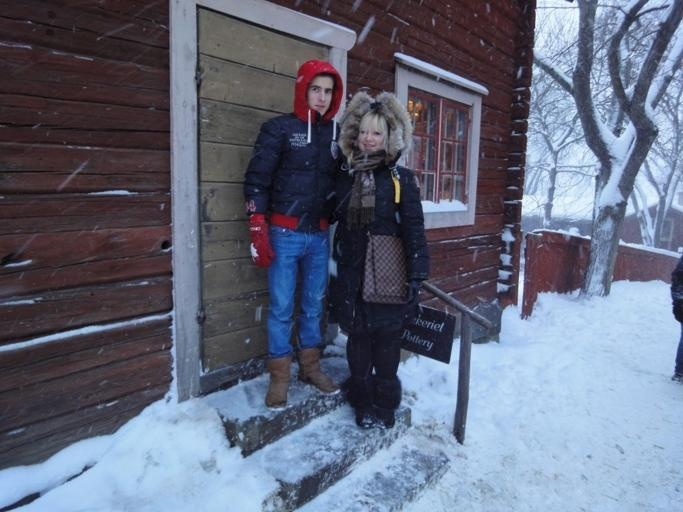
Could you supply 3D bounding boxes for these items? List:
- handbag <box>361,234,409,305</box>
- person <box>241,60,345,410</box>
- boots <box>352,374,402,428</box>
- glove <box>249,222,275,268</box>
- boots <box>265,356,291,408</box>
[{"bbox_3d":[0.293,0.104,3.248,0.421,0.586,0.181,6,-4,-18],"label":"handbag"},{"bbox_3d":[-0.307,-0.163,3.329,0.763,2.466,0.358,-8,11,-42],"label":"person"},{"bbox_3d":[0.250,1.109,3.578,0.326,0.412,0.387,4,-7,-30],"label":"boots"},{"bbox_3d":[-0.550,-0.081,3.170,0.088,0.283,0.202,-5,-4,-26],"label":"glove"},{"bbox_3d":[-0.466,0.896,3.330,0.156,0.317,0.438,-2,6,-1],"label":"boots"}]
